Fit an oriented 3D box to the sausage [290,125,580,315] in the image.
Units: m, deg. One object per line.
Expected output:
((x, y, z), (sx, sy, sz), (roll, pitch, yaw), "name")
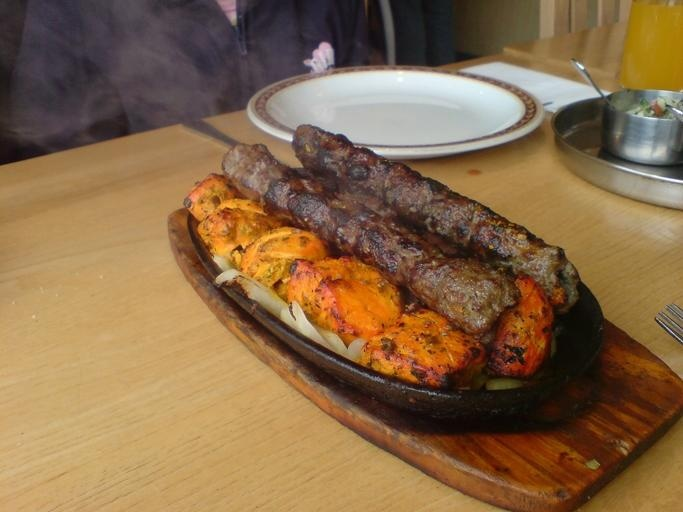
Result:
((0.183, -0.065, 1.121), (0.769, 0.120, 0.133), (28, 83, 23), "sausage")
